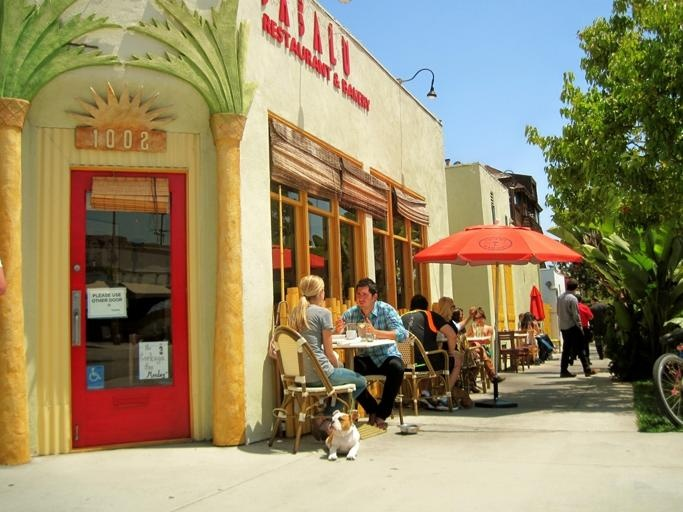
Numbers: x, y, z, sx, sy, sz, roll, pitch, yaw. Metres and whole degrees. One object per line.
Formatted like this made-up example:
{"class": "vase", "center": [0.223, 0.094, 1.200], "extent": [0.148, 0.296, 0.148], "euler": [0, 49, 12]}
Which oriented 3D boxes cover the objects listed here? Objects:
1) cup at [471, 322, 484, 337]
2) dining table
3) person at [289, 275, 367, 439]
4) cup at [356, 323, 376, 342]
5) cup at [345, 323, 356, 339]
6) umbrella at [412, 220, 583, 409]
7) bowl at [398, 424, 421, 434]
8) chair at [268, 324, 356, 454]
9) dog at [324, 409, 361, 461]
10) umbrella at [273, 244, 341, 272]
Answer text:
{"class": "cup", "center": [3.185, 1.734, 13.689], "extent": [0.238, 0.454, 0.253], "euler": [1, -16, 0]}
{"class": "dining table", "center": [-0.005, 1.651, 7.528], "extent": [1.100, 1.266, 1.171], "euler": [-2, -4, 30]}
{"class": "person", "center": [-0.205, 1.212, 7.124], "extent": [0.813, 1.950, 0.446], "euler": [3, -6, -44]}
{"class": "cup", "center": [0.307, 1.004, 7.619], "extent": [0.244, 0.285, 0.151], "euler": [-1, -15, -25]}
{"class": "cup", "center": [0.112, 0.976, 7.492], "extent": [0.119, 0.143, 0.175], "euler": [0, -6, 4]}
{"class": "umbrella", "center": [2.665, 0.886, 10.225], "extent": [2.838, 3.333, 2.910], "euler": [0, -2, 42]}
{"class": "bowl", "center": [0.873, 2.233, 7.529], "extent": [0.253, 0.135, 0.302], "euler": [-2, -5, 4]}
{"class": "chair", "center": [-0.390, 1.555, 7.166], "extent": [0.918, 1.527, 0.784], "euler": [-2, 1, -43]}
{"class": "dog", "center": [0.012, 2.033, 6.552], "extent": [0.374, 0.526, 0.802], "euler": [2, -16, 1]}
{"class": "umbrella", "center": [-0.547, 0.039, 9.274], "extent": [0.380, 0.491, 2.286], "euler": [-3, -5, 16]}
